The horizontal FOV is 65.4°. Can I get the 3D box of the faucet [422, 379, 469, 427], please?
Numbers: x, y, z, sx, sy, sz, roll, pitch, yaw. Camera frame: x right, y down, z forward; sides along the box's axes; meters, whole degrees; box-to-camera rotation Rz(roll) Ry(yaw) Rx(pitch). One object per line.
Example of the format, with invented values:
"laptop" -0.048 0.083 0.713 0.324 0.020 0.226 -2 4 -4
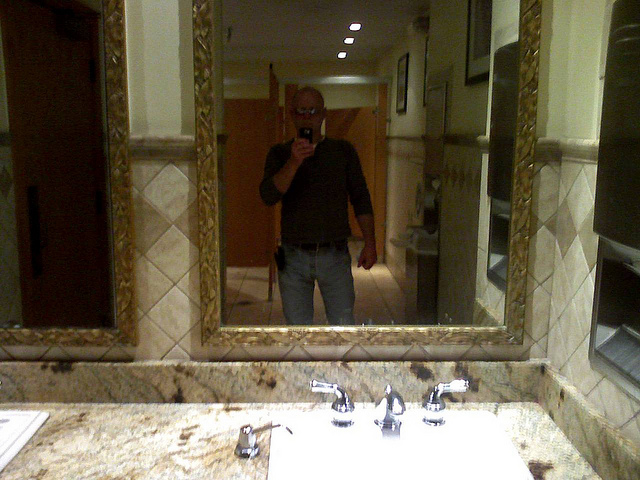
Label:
"faucet" 0.325 0.430 1.328 0.128 0.123 0.075 3 -2 -4
